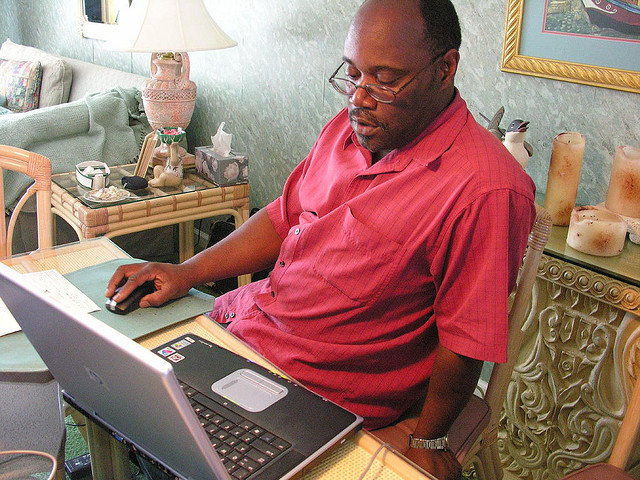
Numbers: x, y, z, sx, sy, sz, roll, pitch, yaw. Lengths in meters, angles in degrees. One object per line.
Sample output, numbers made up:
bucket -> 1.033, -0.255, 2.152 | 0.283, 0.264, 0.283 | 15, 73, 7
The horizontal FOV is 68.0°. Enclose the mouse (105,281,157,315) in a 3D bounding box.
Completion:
mouse -> -0.431, 0.121, 1.017 | 0.049, 0.024, 0.088 | 13, 25, -11
